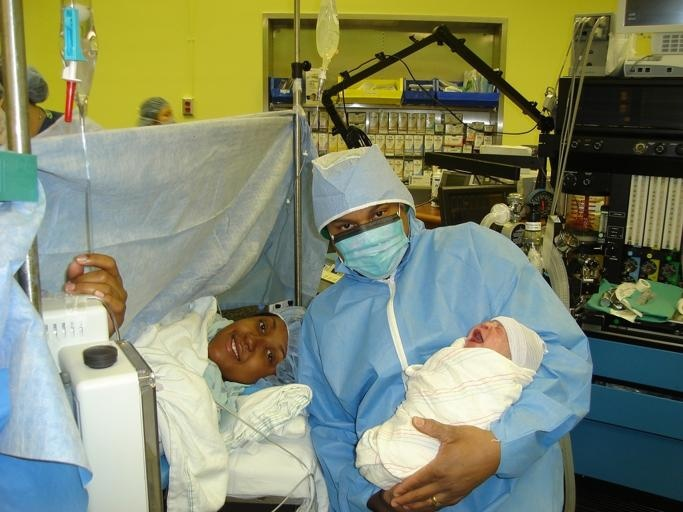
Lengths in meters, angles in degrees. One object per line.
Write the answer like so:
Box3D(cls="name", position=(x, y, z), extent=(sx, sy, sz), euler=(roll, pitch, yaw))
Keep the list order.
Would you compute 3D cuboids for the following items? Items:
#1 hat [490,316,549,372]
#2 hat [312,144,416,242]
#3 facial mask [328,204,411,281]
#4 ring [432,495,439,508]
Box3D(cls="hat", position=(0.530, 0.260, 1.750), extent=(0.129, 0.169, 0.121), euler=(-2, 11, -25))
Box3D(cls="hat", position=(0.080, -0.236, 2.073), extent=(0.291, 0.223, 0.305), euler=(-23, -6, 13))
Box3D(cls="facial mask", position=(0.104, -0.059, 1.975), extent=(0.208, 0.288, 0.173), euler=(-2, 11, -27))
Box3D(cls="ring", position=(0.258, 0.671, 1.586), extent=(0.021, 0.030, 0.026), euler=(-5, -14, -8))
